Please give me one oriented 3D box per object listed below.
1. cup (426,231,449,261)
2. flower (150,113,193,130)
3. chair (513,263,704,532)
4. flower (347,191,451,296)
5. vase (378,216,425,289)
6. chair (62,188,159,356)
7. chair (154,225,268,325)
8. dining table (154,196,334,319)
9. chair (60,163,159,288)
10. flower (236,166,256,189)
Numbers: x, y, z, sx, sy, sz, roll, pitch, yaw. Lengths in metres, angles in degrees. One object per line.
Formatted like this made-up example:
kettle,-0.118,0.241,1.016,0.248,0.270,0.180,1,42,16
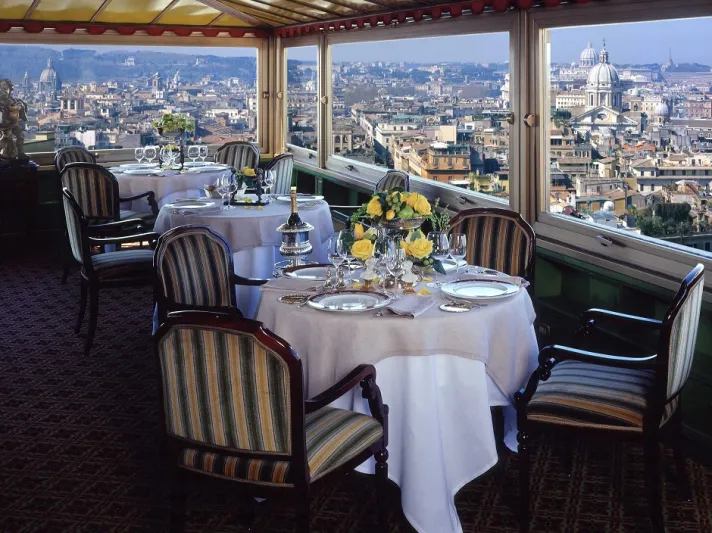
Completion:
cup,0.445,-0.104,3.187,0.108,0.147,0.133,0,8,9
flower,-2.234,-1.778,7.323,0.393,0.264,0.390,3,8,23
chair,1.284,0.476,3.449,1.101,1.845,1.076,5,13,29
flower,0.235,-0.152,3.248,0.489,0.569,0.525,0,6,2
vase,0.190,-0.092,3.184,0.301,0.407,0.325,-3,8,-24
chair,-2.004,-0.040,5.091,0.742,1.094,0.666,-4,18,-24
chair,-0.919,0.097,3.852,0.595,0.829,0.527,-9,19,-22
dining table,-0.849,-0.249,5.192,1.091,0.871,1.115,-2,12,-17
chair,-2.531,-0.426,5.903,0.809,1.224,0.769,5,8,29
flower,-0.996,-0.840,5.464,0.203,0.184,0.204,0,2,30
